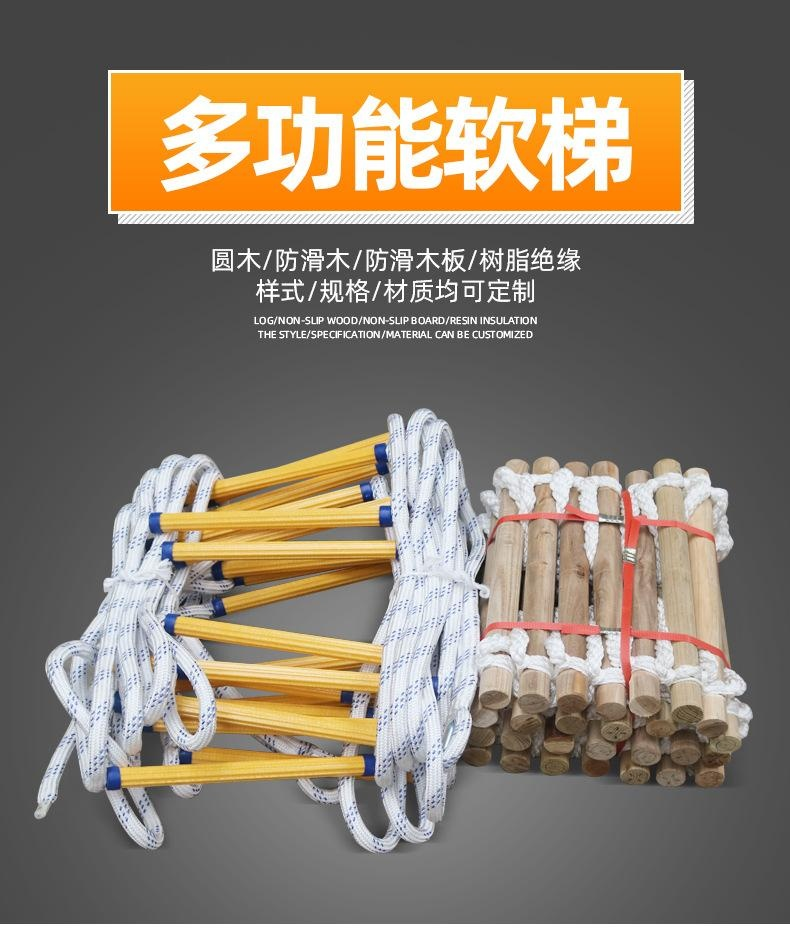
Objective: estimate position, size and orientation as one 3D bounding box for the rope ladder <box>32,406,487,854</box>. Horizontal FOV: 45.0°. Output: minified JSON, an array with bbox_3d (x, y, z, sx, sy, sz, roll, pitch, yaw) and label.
[{"bbox_3d":[-0.385,0.589,2.878,1.276,0.416,1.428,7,20,10],"label":"rope ladder"}]

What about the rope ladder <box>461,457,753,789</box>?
[{"bbox_3d":[0.658,0.393,2.885,0.807,0.575,1.026,7,65,1],"label":"rope ladder"}]

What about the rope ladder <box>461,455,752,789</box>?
[{"bbox_3d":[0.627,0.395,2.908,0.839,0.361,0.918,5,43,16],"label":"rope ladder"}]
